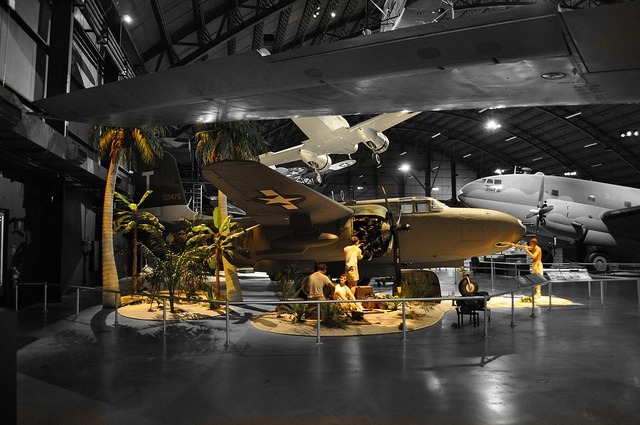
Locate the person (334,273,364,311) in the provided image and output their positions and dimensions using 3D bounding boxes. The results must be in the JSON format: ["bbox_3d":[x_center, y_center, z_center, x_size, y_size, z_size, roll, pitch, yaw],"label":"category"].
[{"bbox_3d":[0.670,2.084,10.438,0.696,0.746,1.466,0,-1,2],"label":"person"}]

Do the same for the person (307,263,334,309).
[{"bbox_3d":[-0.057,1.724,10.012,0.472,0.820,0.738,-1,-1,15],"label":"person"}]

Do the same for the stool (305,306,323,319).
[{"bbox_3d":[-0.255,2.577,10.328,0.635,0.159,0.692,0,0,9],"label":"stool"}]

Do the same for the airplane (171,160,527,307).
[{"bbox_3d":[0.859,0.636,14.775,11.981,2.411,11.806,-4,-7,31],"label":"airplane"}]
